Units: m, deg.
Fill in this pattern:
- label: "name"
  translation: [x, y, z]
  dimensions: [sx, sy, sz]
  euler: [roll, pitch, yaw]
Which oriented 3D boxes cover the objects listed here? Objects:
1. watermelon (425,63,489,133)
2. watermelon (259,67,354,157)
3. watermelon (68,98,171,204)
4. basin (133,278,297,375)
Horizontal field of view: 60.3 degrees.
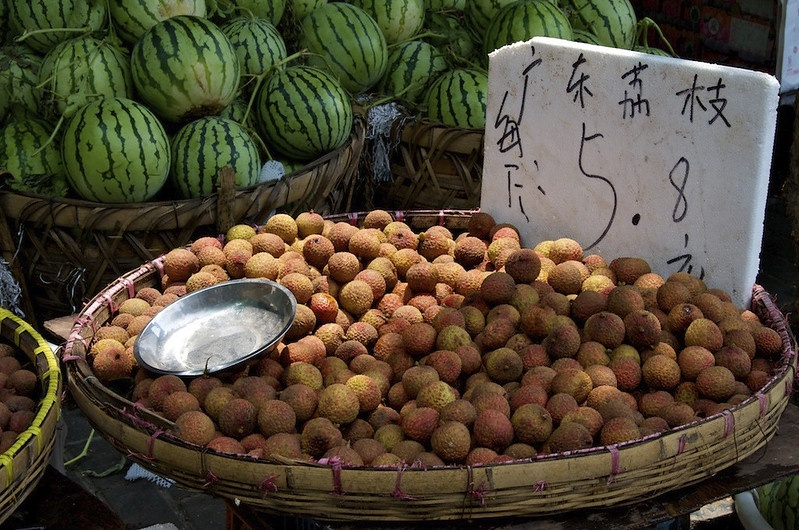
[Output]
- label: "watermelon"
  translation: [0.486, -1.378, 5.294]
  dimensions: [0.397, 0.441, 0.488]
  euler: [-24, -12, 10]
- label: "watermelon"
  translation: [-0.639, -1.070, 5.082]
  dimensions: [0.565, 0.630, 0.778]
  euler: [1, 45, 6]
- label: "watermelon"
  translation: [-1.784, -0.701, 4.285]
  dimensions: [0.439, 0.565, 0.444]
  euler: [-22, 1, 6]
- label: "basin"
  translation: [-0.907, 0.308, 3.354]
  dimensions: [0.510, 0.105, 0.500]
  euler: [-6, 29, 3]
